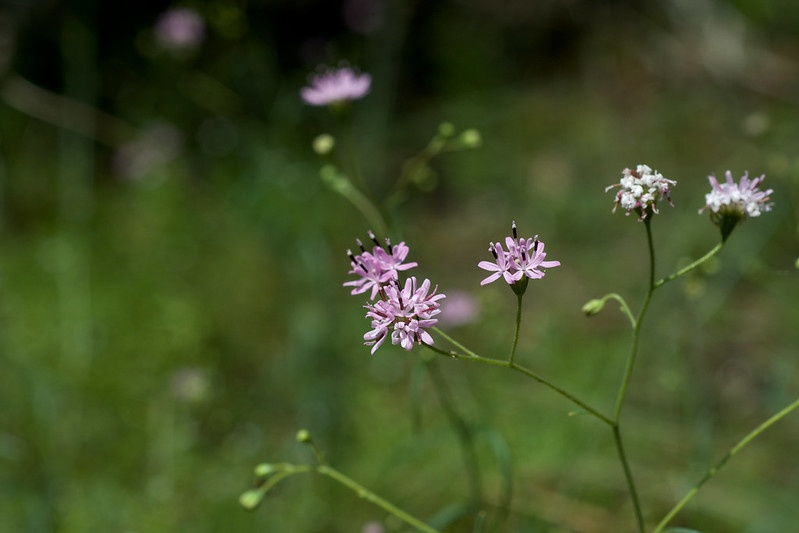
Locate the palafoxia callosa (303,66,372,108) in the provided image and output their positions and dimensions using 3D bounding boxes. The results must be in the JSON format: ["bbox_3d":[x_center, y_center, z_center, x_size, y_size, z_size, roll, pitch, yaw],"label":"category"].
[{"bbox_3d":[-0.225,-0.642,3.198,0.167,0.068,0.159,-23,59,-4],"label":"palafoxia callosa"}]

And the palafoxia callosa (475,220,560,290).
[{"bbox_3d":[0.384,-0.007,2.843,0.285,0.173,0.325,3,-16,-2],"label":"palafoxia callosa"}]

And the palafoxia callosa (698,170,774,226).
[{"bbox_3d":[1.103,-0.180,2.936,0.206,0.109,0.245,9,63,10],"label":"palafoxia callosa"}]

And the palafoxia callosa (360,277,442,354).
[{"bbox_3d":[0.013,0.134,2.831,0.203,0.096,0.216,-9,4,-41],"label":"palafoxia callosa"}]

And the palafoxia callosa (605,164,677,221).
[{"bbox_3d":[0.761,-0.235,2.865,0.171,0.179,0.167,-20,27,-31],"label":"palafoxia callosa"}]
